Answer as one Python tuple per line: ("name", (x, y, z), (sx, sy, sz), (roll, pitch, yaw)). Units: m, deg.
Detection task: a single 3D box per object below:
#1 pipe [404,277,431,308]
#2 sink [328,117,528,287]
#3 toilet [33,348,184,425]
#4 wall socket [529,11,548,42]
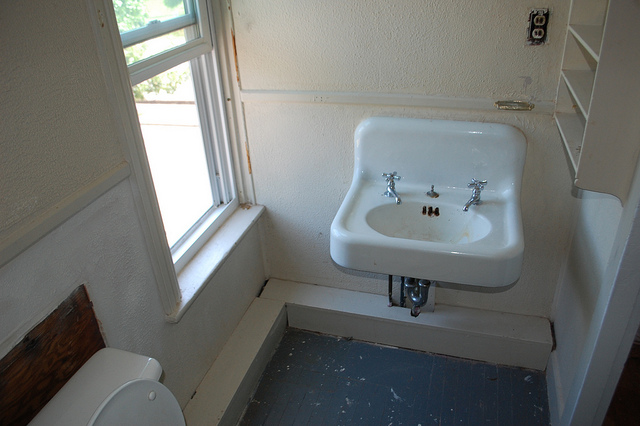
("pipe", (0.471, 0.371, 2.225), (0.114, 0.169, 0.119), (1, 15, 6))
("sink", (0.480, -0.049, 2.040), (0.815, 0.526, 0.592), (5, 36, 19))
("toilet", (-0.692, 0.642, 1.521), (0.324, 0.250, 0.307), (6, 16, 22))
("wall socket", (0.912, -0.776, 1.908), (0.071, 0.117, 0.026), (5, 16, 20))
